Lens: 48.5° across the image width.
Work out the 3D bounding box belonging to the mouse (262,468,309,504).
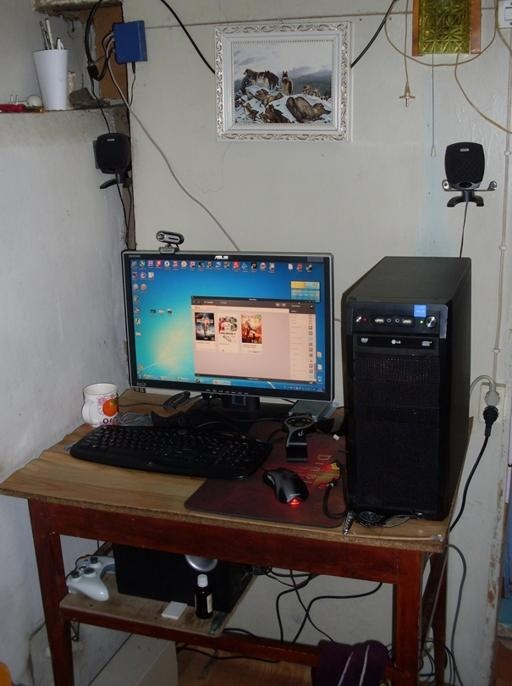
[{"bbox_3d":[0.060,0.263,1.067,0.070,0.042,0.097,-8,15,-20],"label":"mouse"}]

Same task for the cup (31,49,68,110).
[{"bbox_3d":[-0.493,-0.644,1.384,0.074,0.132,0.057,-8,14,-19],"label":"cup"}]

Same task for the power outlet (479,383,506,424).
[{"bbox_3d":[0.589,0.142,1.456,0.028,0.038,0.107,26,58,32],"label":"power outlet"}]

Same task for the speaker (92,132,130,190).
[{"bbox_3d":[-0.386,-0.513,1.558,0.097,0.151,0.099,-1,40,-1],"label":"speaker"}]

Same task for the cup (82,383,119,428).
[{"bbox_3d":[-0.392,0.155,1.487,0.078,0.102,0.109,4,18,-1],"label":"cup"}]

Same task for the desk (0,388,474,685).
[{"bbox_3d":[-0.067,0.340,1.168,0.722,0.598,0.509,5,20,18],"label":"desk"}]

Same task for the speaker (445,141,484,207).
[{"bbox_3d":[0.483,-0.382,1.306,0.095,0.137,0.109,4,25,22],"label":"speaker"}]

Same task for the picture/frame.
[{"bbox_3d":[0.077,-0.664,1.415,0.296,0.245,0.016,2,22,10],"label":"picture/frame"}]

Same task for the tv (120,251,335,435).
[{"bbox_3d":[-0.058,-0.012,1.370,0.386,0.307,0.116,3,17,14],"label":"tv"}]

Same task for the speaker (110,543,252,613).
[{"bbox_3d":[-0.169,0.466,1.161,0.216,0.131,0.152,3,-6,9],"label":"speaker"}]
